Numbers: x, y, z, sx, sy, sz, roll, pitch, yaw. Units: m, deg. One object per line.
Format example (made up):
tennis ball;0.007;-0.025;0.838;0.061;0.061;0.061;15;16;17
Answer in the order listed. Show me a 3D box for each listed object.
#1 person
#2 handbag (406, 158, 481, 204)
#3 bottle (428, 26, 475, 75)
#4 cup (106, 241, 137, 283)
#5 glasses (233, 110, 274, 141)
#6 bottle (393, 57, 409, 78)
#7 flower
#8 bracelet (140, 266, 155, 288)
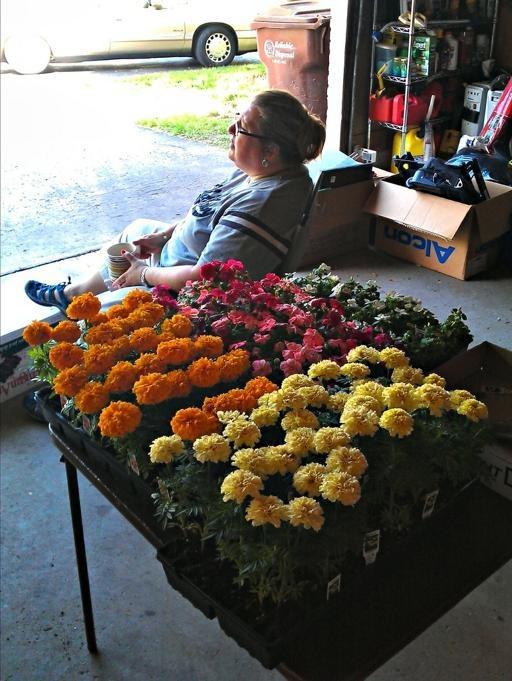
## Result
person;-0.394;-0.384;1.948;1.159;1.159;0.542;9;37;-2
handbag;1.023;-0.871;2.878;0.243;0.165;0.365;33;-8;-34
bottle;1.473;-2.220;3.962;0.189;0.329;0.566;18;31;32
cup;-0.453;-0.263;1.765;0.106;0.109;0.110;7;42;-6
glasses;-0.010;-0.670;1.660;0.109;0.030;0.099;8;25;-15
bottle;1.046;-1.992;3.802;0.058;0.136;0.149;-13;29;-22
flower;0.094;0.037;0.997;0.846;0.229;0.761;-17;31;-32
bracelet;-0.352;-0.209;1.692;0.052;0.063;0.026;-3;2;-24
